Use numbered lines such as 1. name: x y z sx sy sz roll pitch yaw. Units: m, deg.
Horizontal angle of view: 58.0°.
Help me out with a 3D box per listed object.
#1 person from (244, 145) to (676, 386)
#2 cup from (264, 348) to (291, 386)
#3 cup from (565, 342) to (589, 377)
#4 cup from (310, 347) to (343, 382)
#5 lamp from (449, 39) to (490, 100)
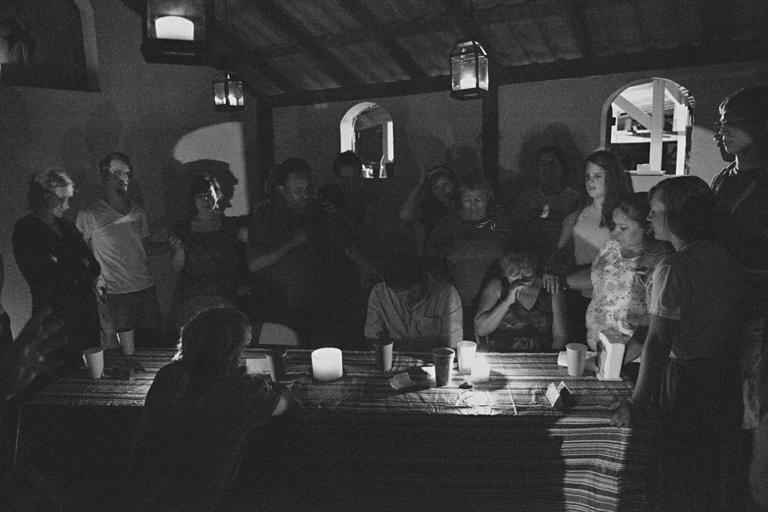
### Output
1. person: 0.411 0.267 4.986 3.373 1.369 0.807 2 -5 14
2. cup: -0.704 0.687 4.341 0.210 0.222 0.187 -3 0 -22
3. cup: 1.172 0.629 4.232 0.182 0.177 0.177 -2 3 0
4. cup: -0.357 0.670 4.333 0.232 0.156 0.224 -3 13 1
5. lamp: 0.543 -1.185 4.392 0.286 0.385 0.301 7 20 33
